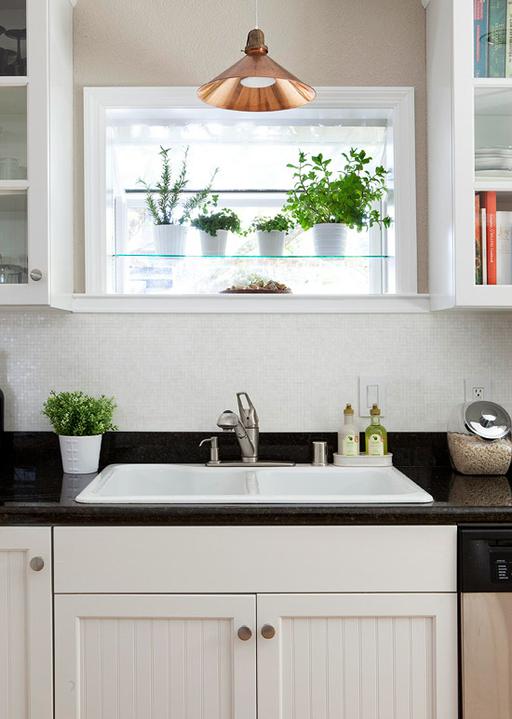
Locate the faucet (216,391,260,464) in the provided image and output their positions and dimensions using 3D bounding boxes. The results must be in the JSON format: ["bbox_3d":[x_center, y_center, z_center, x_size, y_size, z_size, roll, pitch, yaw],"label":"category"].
[{"bbox_3d":[-0.040,0.201,2.380,0.100,0.202,0.178,2,7,15],"label":"faucet"}]

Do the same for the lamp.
[{"bbox_3d":[-0.001,-0.724,2.026,0.268,0.157,0.307,4,7,31],"label":"lamp"}]

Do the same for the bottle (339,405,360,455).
[{"bbox_3d":[0.279,0.209,2.422,0.062,0.149,0.167,1,6,8],"label":"bottle"}]

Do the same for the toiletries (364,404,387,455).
[{"bbox_3d":[0.361,0.213,2.420,0.068,0.155,0.174,1,6,9],"label":"toiletries"}]

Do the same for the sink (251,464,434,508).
[{"bbox_3d":[0.204,0.359,2.133,0.422,0.098,0.424,0,6,-3],"label":"sink"}]

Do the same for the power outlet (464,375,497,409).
[{"bbox_3d":[0.688,0.102,2.497,0.116,0.115,0.013,0,-4,-3],"label":"power outlet"}]

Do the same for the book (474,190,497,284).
[{"bbox_3d":[0.633,-0.333,2.218,0.058,0.250,0.036,1,7,6],"label":"book"}]

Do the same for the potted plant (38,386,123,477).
[{"bbox_3d":[-0.518,0.214,2.367,0.150,0.227,0.159,-5,8,-40],"label":"potted plant"}]
